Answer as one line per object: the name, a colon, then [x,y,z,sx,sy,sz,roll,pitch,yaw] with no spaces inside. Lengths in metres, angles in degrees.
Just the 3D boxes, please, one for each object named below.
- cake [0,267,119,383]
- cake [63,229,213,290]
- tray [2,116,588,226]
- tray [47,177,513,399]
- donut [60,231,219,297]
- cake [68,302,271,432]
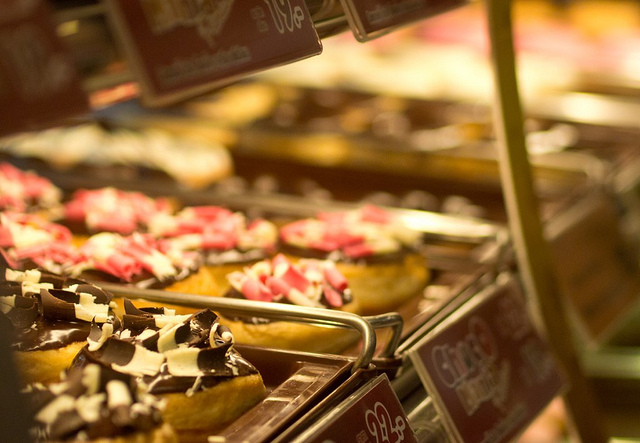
cake: [-0.620,0.205,1.205,0.271,0.091,0.230,8,7,44]
cake: [-0.656,0.137,1.828,0.480,0.128,0.502,-8,8,-35]
tray: [0.107,-0.205,2.217,1.639,0.229,0.833,8,22,19]
tray: [-0.115,0.150,1.875,1.363,0.185,0.777,5,19,20]
donut: [-0.586,0.138,1.749,0.307,0.096,0.280,9,-1,-2]
cake: [-0.353,0.295,1.174,0.423,0.208,0.404,6,0,-44]
